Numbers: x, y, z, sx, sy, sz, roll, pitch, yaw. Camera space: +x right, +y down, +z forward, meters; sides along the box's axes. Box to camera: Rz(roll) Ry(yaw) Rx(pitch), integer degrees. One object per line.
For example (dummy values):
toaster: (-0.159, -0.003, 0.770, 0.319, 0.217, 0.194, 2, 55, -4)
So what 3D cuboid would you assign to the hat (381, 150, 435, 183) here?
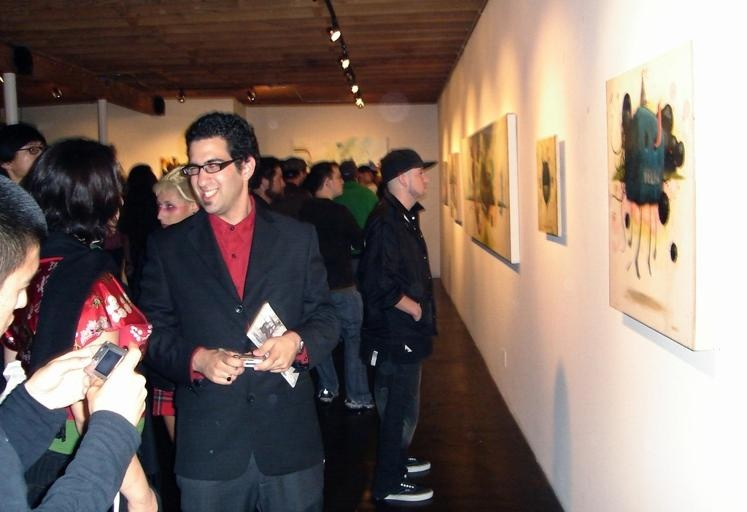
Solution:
hat: (0.245, -0.660, 3.722, 0.419, 0.204, 0.291, -16, 5, 3)

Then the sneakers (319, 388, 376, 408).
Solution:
sneakers: (-0.244, 1.367, 5.110, 0.555, 0.248, 0.188, -1, 11, 7)

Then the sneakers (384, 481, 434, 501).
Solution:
sneakers: (0.234, 1.598, 3.595, 0.322, 0.126, 0.146, -3, 0, -2)

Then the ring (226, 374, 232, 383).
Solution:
ring: (-0.558, 0.483, 2.084, 0.015, 0.015, 0.027, 9, -4, -19)

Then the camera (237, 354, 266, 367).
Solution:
camera: (-0.474, 0.416, 2.096, 0.099, 0.043, 0.063, -2, 8, 0)
